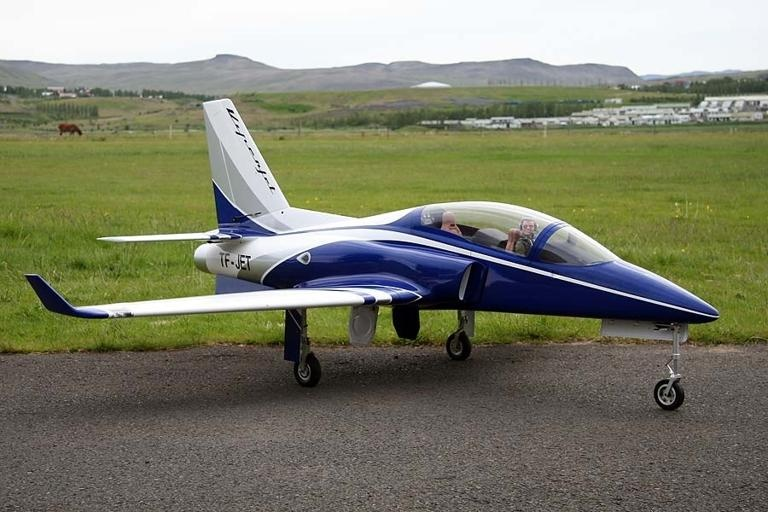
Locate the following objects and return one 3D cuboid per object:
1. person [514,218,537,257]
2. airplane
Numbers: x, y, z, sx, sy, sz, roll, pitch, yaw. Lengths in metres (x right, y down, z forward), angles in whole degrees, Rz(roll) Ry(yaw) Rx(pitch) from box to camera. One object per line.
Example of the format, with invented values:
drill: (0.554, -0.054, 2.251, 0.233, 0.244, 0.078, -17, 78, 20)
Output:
person: (2.674, -0.368, 16.688, 0.379, 0.614, 0.509, 3, 18, 21)
airplane: (0.058, -0.712, 16.739, 10.119, 4.208, 4.736, 4, 17, 24)
